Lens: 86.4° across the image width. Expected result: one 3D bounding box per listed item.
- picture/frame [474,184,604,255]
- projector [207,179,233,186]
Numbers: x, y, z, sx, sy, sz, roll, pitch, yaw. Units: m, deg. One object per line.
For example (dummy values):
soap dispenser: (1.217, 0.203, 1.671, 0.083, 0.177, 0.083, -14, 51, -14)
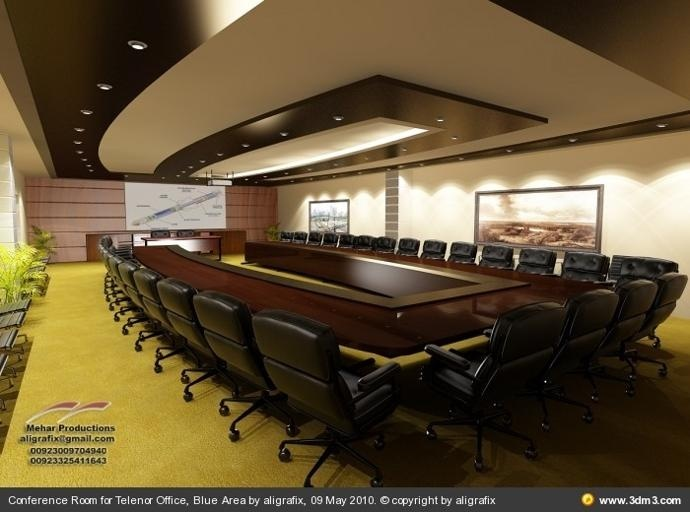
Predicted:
picture/frame: (4.018, -0.765, 7.757, 3.225, 1.258, 0.114, -2, 6, -14)
projector: (-4.654, -2.791, 13.836, 0.501, 0.200, 1.044, 8, 13, 37)
